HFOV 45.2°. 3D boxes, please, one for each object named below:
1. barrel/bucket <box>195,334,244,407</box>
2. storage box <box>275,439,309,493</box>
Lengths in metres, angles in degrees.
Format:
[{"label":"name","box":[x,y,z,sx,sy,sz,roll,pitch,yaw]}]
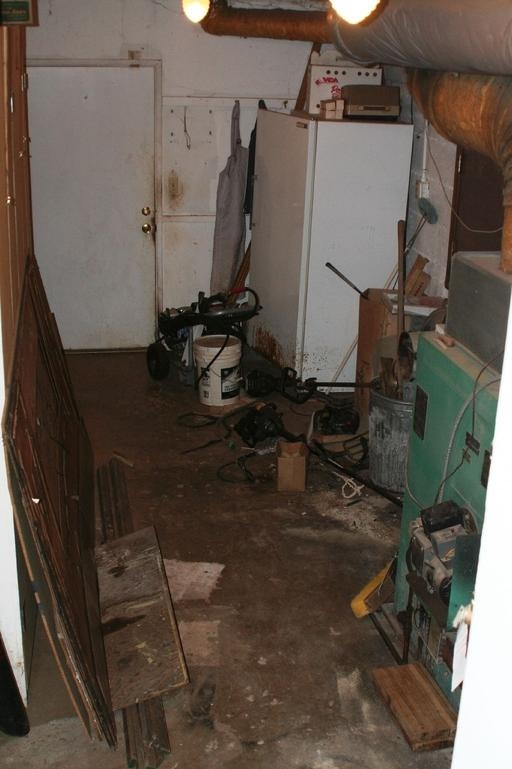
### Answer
[{"label":"barrel/bucket","box":[-0.341,-0.069,5.269,0.363,0.629,0.355,4,20,-1]},{"label":"storage box","box":[0.234,0.548,4.075,0.194,0.278,0.230,2,19,2]}]
